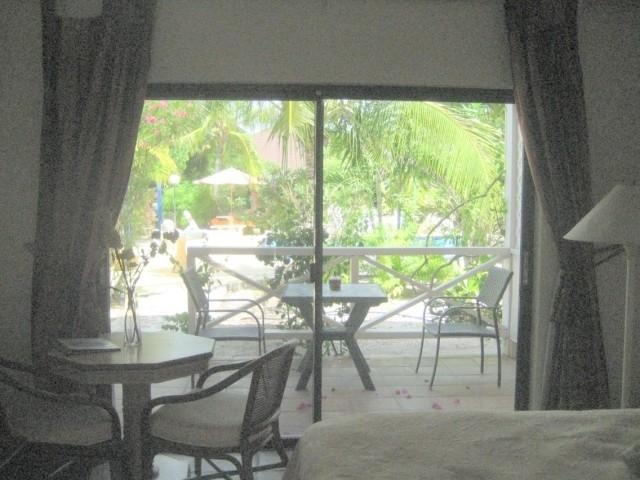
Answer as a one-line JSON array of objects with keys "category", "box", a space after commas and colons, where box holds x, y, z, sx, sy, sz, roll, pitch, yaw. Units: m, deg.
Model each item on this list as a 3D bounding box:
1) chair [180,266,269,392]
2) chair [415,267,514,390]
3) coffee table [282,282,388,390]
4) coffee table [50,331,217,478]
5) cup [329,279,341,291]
[{"category": "chair", "box": [-0.665, 0.601, 5.303, 0.618, 0.752, 0.567, 0, 3, -17]}, {"category": "chair", "box": [1.119, 0.678, 5.819, 0.652, 0.858, 0.549, -1, 5, -1]}, {"category": "coffee table", "box": [0.096, 0.630, 5.319, 0.747, 0.739, 0.757, 0, 0, -2]}, {"category": "coffee table", "box": [-1.021, 0.863, 4.534, 0.797, 0.865, 0.809, 4, 9, 19]}, {"category": "cup", "box": [0.107, 0.326, 5.312, 0.076, 0.075, 0.078, 2, -2, 0]}]
